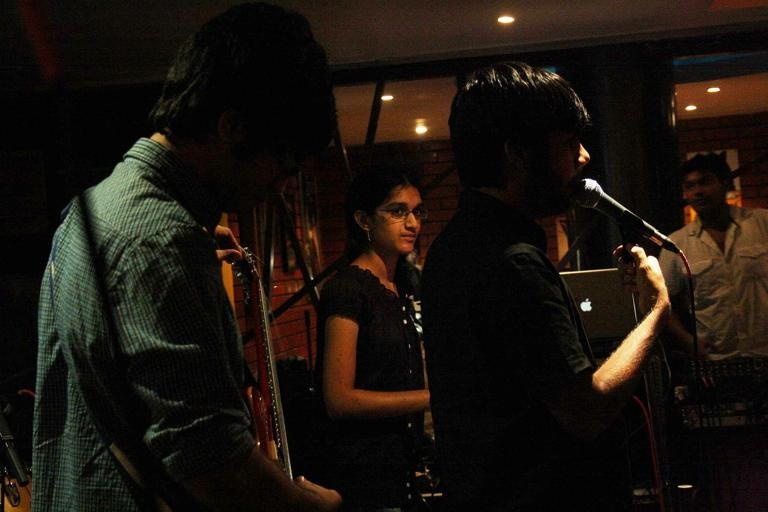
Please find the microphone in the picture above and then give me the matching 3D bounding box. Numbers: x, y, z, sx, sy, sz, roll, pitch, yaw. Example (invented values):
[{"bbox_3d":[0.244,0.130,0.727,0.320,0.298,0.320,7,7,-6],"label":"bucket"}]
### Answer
[{"bbox_3d":[0.538,-0.105,1.662,0.083,0.350,0.091,-55,8,32],"label":"microphone"}]
